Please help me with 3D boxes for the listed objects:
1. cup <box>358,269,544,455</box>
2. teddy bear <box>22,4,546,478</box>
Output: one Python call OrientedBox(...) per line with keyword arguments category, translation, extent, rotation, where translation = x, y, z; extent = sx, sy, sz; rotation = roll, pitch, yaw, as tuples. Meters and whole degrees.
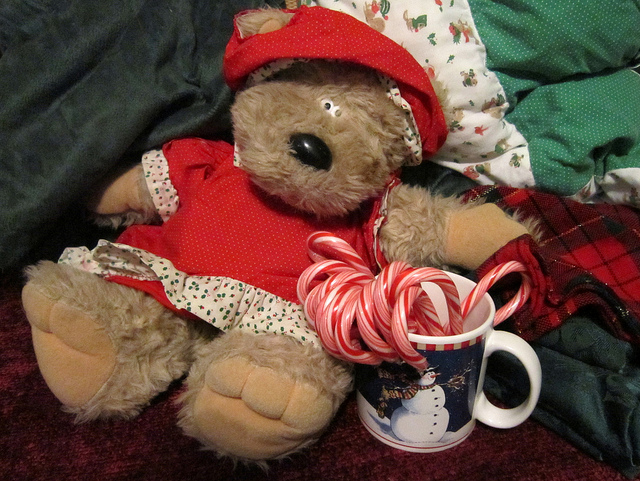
OrientedBox(category="cup", translation=(0.222, 0.231, 1.072), extent=(0.259, 0.203, 0.180), rotation=(9, 12, 18))
OrientedBox(category="teddy bear", translation=(-0.005, 0.015, 1.349), extent=(0.772, 0.868, 0.872), rotation=(10, 32, 14))
